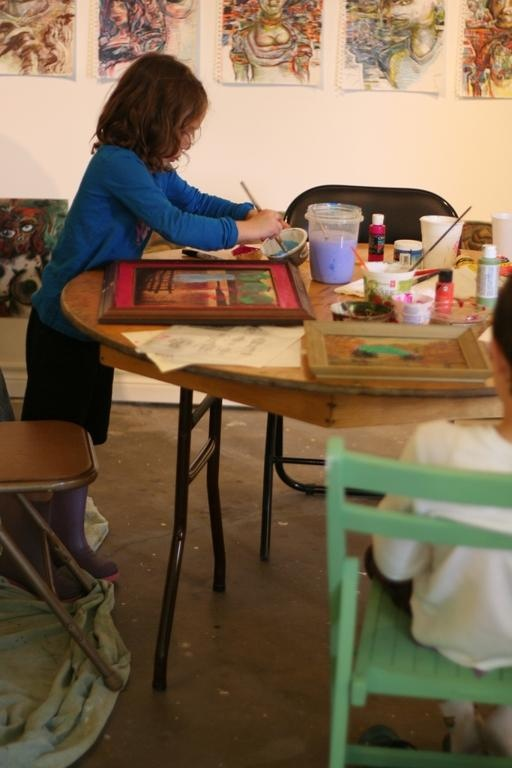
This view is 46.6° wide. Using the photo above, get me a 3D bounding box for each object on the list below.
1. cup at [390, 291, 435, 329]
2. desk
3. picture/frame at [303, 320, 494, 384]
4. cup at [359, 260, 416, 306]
[{"bbox_3d":[0.254,-0.112,0.984,0.076,0.053,0.068,5,23,15],"label":"cup"},{"bbox_3d":[-0.022,0.197,1.280,0.883,0.608,0.827,3,22,-2],"label":"desk"},{"bbox_3d":[0.186,-0.029,0.819,0.181,0.023,0.116,1,37,-8],"label":"picture/frame"},{"bbox_3d":[0.235,-0.172,1.093,0.116,0.086,0.121,-1,11,0],"label":"cup"}]
